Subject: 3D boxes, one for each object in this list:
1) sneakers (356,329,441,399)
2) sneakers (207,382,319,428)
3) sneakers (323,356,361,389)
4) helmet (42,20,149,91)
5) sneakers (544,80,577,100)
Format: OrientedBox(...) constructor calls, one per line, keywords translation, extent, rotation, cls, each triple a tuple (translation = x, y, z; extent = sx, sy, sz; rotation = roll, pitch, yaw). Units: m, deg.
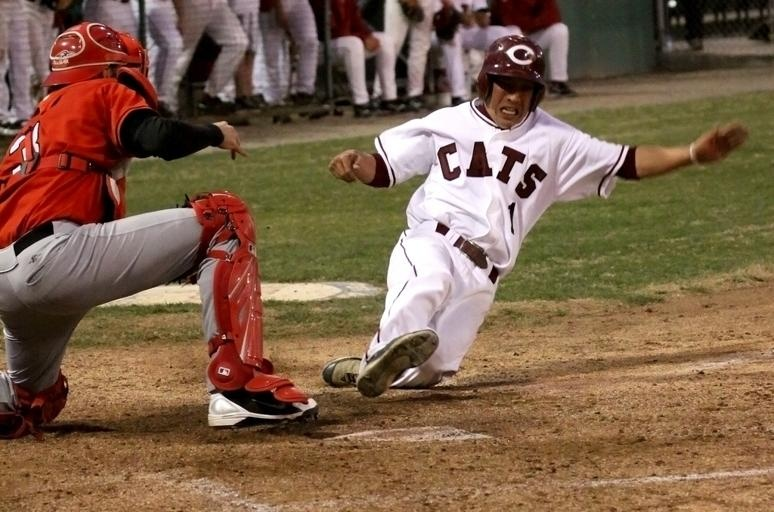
OrientedBox(translation=(0.068, 0.626, 7.091), extent=(0.474, 0.161, 0.249), rotation=(-32, 18, -6), cls="sneakers")
OrientedBox(translation=(-0.688, 0.793, 6.705), extent=(0.511, 0.189, 0.233), rotation=(-3, 1, -11), cls="sneakers")
OrientedBox(translation=(-0.283, 0.693, 7.348), extent=(0.237, 0.178, 0.116), rotation=(2, 7, 14), cls="sneakers")
OrientedBox(translation=(-1.614, -1.104, 6.798), extent=(0.457, 0.284, 0.573), rotation=(7, 12, 32), cls="helmet")
OrientedBox(translation=(1.854, -1.805, 13.491), extent=(0.135, 0.147, 0.395), rotation=(-25, 32, -37), cls="sneakers")
